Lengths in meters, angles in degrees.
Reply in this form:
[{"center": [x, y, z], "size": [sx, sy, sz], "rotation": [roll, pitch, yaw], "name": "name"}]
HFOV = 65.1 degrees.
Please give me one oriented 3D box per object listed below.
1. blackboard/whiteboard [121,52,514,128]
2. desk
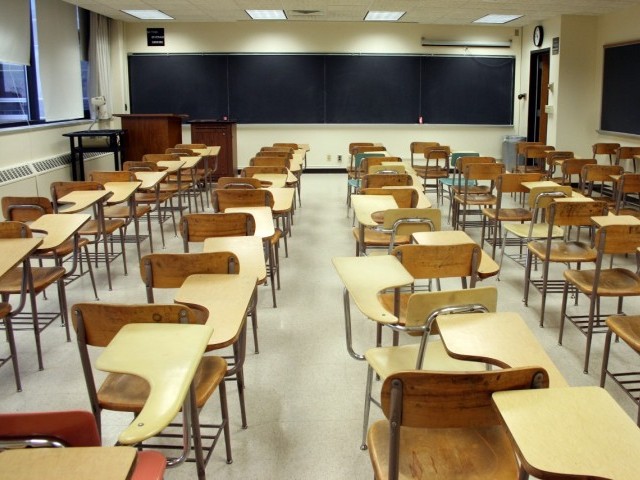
[{"center": [0.034, -3.387, 11.344], "size": [8.310, 1.609, 0.294], "rotation": [-2, 14, -2], "name": "blackboard/whiteboard"}, {"center": [-4.143, -1.431, 9.177], "size": [1.078, 0.955, 1.006], "rotation": [-8, 10, -34], "name": "desk"}]
